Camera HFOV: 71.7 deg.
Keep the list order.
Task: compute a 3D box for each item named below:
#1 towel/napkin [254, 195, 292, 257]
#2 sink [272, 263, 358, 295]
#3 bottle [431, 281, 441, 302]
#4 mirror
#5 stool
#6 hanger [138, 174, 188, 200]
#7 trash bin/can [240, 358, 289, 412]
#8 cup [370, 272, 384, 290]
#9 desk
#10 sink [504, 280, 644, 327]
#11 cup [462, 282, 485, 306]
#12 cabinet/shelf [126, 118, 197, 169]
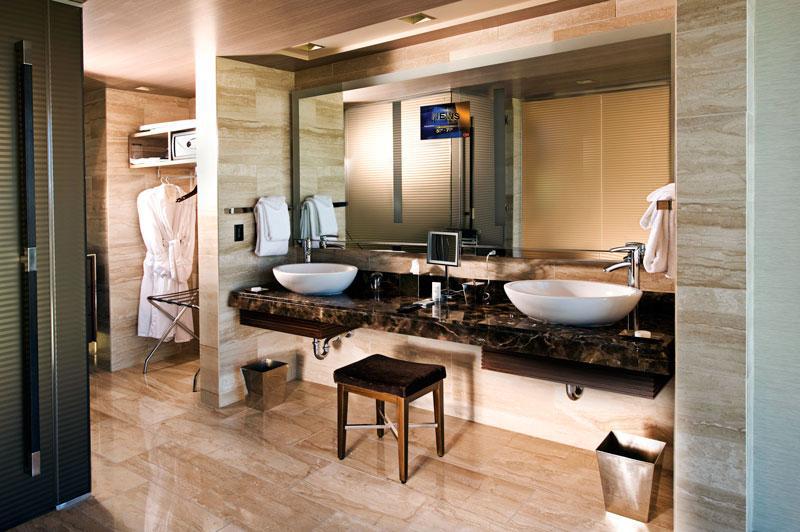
[{"bbox_3d":[-1.021,-0.331,4.468,0.324,0.461,0.166,-13,16,-40],"label":"towel/napkin"},{"bbox_3d":[-0.637,0.102,4.221,0.591,0.195,0.547,-2,9,-6],"label":"sink"},{"bbox_3d":[0.251,0.173,3.815,0.062,0.121,0.127,-2,11,2],"label":"bottle"},{"bbox_3d":[0.627,-0.863,3.767,2.379,0.765,0.027,1,5,33],"label":"mirror"},{"bbox_3d":[-0.064,0.939,3.580,0.628,0.637,0.547,7,15,39],"label":"stool"},{"bbox_3d":[-2.271,-0.750,5.242,0.453,0.291,0.020,3,-30,-31],"label":"hanger"},{"bbox_3d":[-1.060,0.922,4.374,0.331,0.329,0.335,-5,12,-13],"label":"trash bin/can"},{"bbox_3d":[-0.182,0.112,4.281,0.103,0.140,0.182,-3,11,-3],"label":"cup"},{"bbox_3d":[-2.130,0.579,5.117,0.570,0.750,0.757,-7,12,-19],"label":"desk"},{"bbox_3d":[1.000,0.223,3.269,0.728,0.210,0.535,0,9,8],"label":"sink"},{"bbox_3d":[0.488,0.188,3.811,0.179,0.166,0.194,0,-2,0],"label":"cup"},{"bbox_3d":[-2.086,-1.098,4.991,0.906,0.388,0.380,7,14,42],"label":"cabinet/shelf"}]
